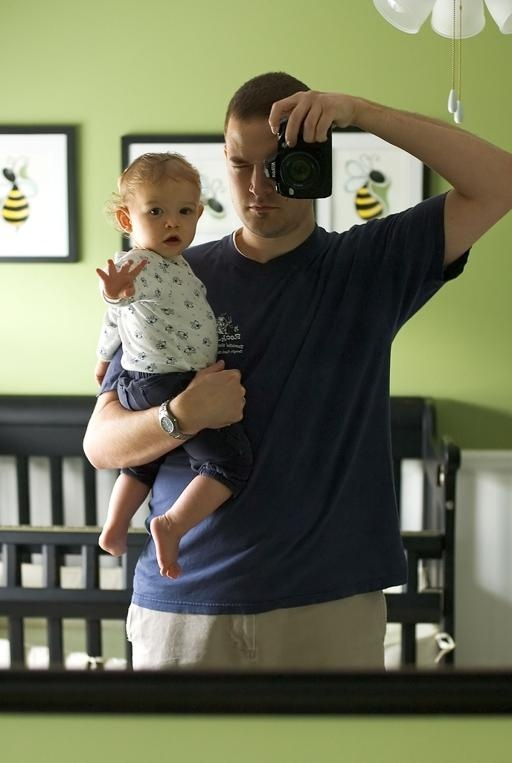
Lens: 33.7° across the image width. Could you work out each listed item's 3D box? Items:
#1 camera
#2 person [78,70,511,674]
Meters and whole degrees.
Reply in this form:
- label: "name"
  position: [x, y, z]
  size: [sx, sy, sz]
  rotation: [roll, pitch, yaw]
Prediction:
- label: "camera"
  position: [0.069, -0.270, 1.026]
  size: [0.087, 0.091, 0.063]
  rotation: [8, 18, 40]
- label: "person"
  position: [0.074, -0.008, 1.091]
  size: [0.472, 0.775, 0.263]
  rotation: [2, 12, 13]
